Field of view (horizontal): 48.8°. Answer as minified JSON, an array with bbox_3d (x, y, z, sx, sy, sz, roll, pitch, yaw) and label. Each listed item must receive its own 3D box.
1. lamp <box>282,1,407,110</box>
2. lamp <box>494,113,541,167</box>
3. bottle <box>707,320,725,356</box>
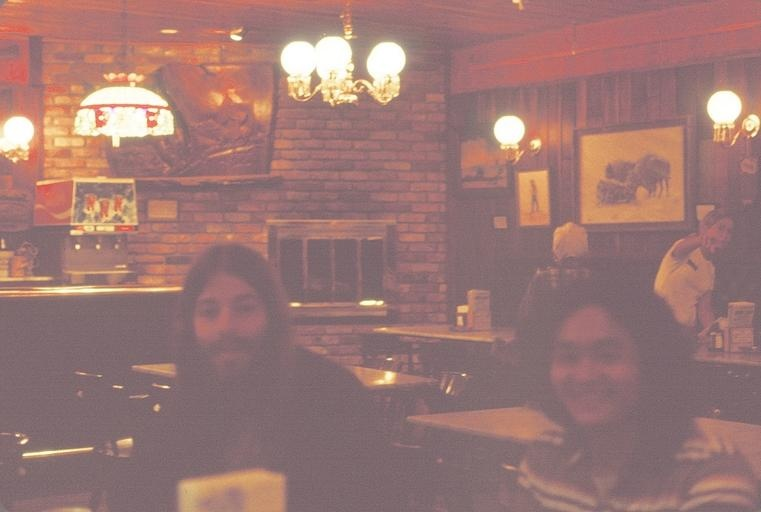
[{"bbox_3d":[-0.198,-0.870,4.093,0.547,0.612,0.507,3,-5,-19],"label":"lamp"},{"bbox_3d":[0.873,-0.801,5.858,0.369,0.331,0.438,-3,4,-34],"label":"lamp"},{"bbox_3d":[1.557,0.380,3.893,0.057,0.142,0.111,15,0,-1],"label":"bottle"}]
